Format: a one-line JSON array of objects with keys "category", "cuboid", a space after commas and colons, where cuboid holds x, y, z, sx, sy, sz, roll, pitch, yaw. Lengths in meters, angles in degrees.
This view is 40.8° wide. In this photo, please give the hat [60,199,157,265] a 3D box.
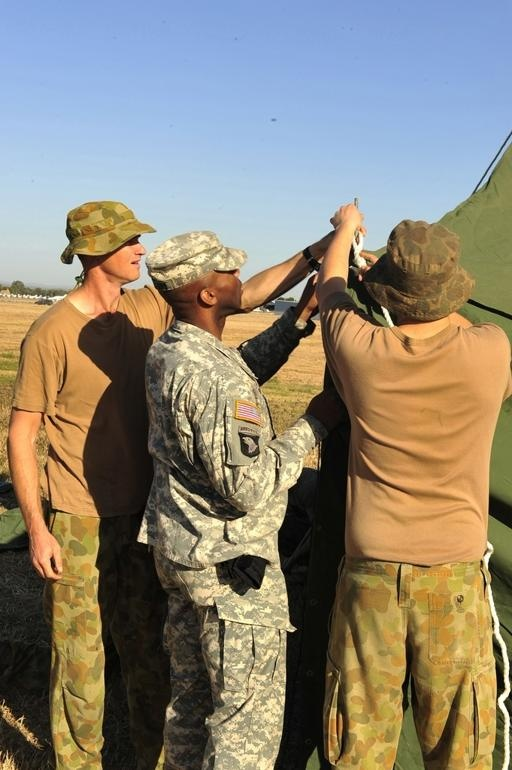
[{"category": "hat", "cuboid": [-0.603, -0.620, 2.805, 0.365, 0.247, 0.199, -1, 10, -15]}]

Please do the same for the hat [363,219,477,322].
[{"category": "hat", "cuboid": [0.450, -0.331, 2.035, 0.191, 0.297, 0.333, -6, 12, -37]}]
